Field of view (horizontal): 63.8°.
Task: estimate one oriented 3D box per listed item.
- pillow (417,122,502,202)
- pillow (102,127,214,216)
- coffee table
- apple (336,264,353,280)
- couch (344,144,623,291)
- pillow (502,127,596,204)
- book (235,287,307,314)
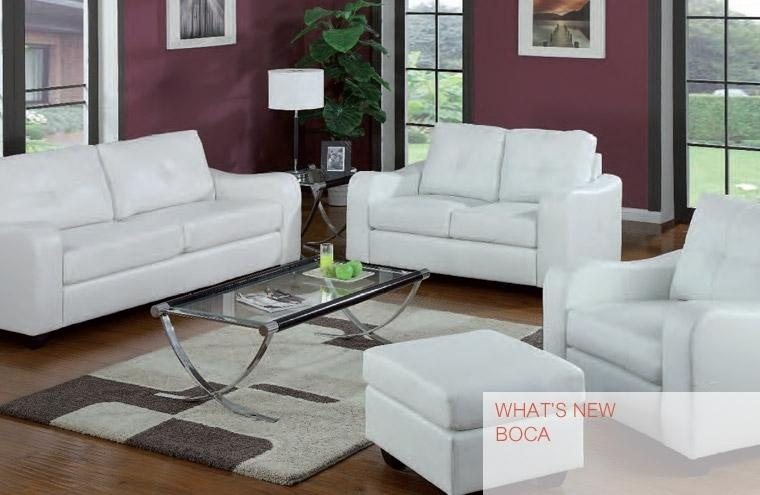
[{"bbox_3d":[0.734,-0.764,5.364,0.851,0.637,0.241,7,-3,26],"label":"pillow"},{"bbox_3d":[-1.845,-0.605,5.070,1.160,0.648,0.270,-14,-7,-43],"label":"pillow"},{"bbox_3d":[-0.563,0.292,3.438,0.929,0.428,1.692,8,14,33],"label":"coffee table"},{"bbox_3d":[-0.212,0.142,3.764,0.115,0.083,0.098,1,5,-5],"label":"apple"},{"bbox_3d":[0.863,-0.321,5.344,2.200,0.855,1.066,9,22,33],"label":"couch"},{"bbox_3d":[1.453,-0.699,5.170,0.847,0.594,0.400,7,36,42],"label":"pillow"},{"bbox_3d":[-0.607,0.292,3.379,0.201,0.045,0.200,8,14,30],"label":"book"}]
